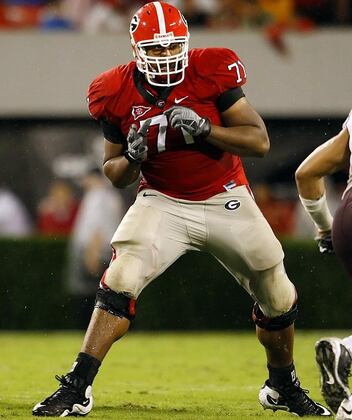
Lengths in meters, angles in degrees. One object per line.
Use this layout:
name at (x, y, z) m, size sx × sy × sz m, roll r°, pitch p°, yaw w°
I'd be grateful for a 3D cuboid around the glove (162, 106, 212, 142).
glove at (0.051, -0.370, 2.152) m, size 0.199 × 0.146 × 0.089 m, roll -3°, pitch 22°, yaw -1°

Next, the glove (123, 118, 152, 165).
glove at (-0.171, -0.305, 2.235) m, size 0.084 × 0.202 × 0.107 m, roll -20°, pitch 28°, yaw -33°

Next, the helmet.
helmet at (-0.075, -0.761, 2.309) m, size 0.259 × 0.373 × 0.334 m, roll -5°, pitch 21°, yaw -3°

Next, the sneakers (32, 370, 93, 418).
sneakers at (-0.440, 0.759, 2.088) m, size 0.109 × 0.133 × 0.320 m, roll 14°, pitch 2°, yaw 37°

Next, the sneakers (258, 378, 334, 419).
sneakers at (0.528, 0.875, 2.367) m, size 0.378 × 0.158 × 0.121 m, roll 9°, pitch -15°, yaw 6°
